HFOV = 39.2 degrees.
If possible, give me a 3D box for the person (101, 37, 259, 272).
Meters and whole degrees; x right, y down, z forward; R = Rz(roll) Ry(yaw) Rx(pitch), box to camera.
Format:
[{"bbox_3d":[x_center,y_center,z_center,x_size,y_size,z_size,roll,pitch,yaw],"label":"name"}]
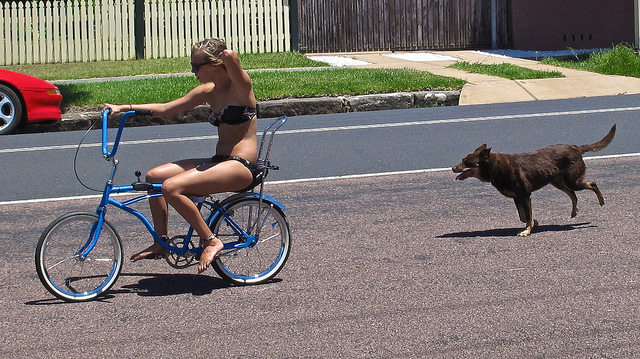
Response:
[{"bbox_3d":[-1.590,-0.317,12.532,1.585,3.146,1.012,-5,15,-10],"label":"person"}]
